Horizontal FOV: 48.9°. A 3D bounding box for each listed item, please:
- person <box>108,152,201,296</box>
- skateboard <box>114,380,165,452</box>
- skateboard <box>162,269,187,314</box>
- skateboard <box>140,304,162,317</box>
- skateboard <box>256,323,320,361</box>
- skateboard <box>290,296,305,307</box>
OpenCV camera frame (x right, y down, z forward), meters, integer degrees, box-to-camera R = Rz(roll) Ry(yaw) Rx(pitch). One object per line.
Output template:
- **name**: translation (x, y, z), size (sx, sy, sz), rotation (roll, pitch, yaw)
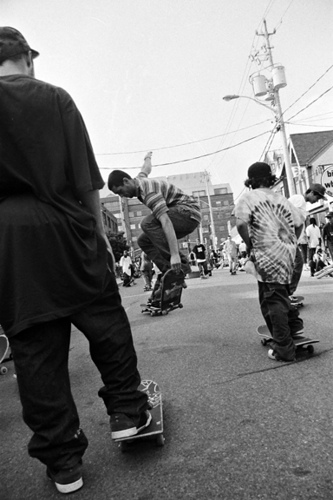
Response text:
- **person**: translation (-0.135, -0.580, 4.956), size (1.107, 2.003, 0.838), rotation (-5, -7, -31)
- **skateboard**: translation (-0.099, 0.778, 1.814), size (0.163, 0.520, 0.095), rotation (-7, 40, -8)
- **skateboard**: translation (0.072, 0.648, 6.054), size (0.409, 0.910, 0.266), rotation (-16, 43, -23)
- **skateboard**: translation (-0.295, 1.109, 6.827), size (0.274, 0.225, 0.892), rotation (-10, 0, -14)
- **skateboard**: translation (1.032, 0.788, 3.283), size (0.210, 0.108, 0.639), rotation (-3, 3, -18)
- **skateboard**: translation (2.019, 0.823, 5.703), size (0.155, 0.156, 0.481), rotation (-10, 0, 21)
